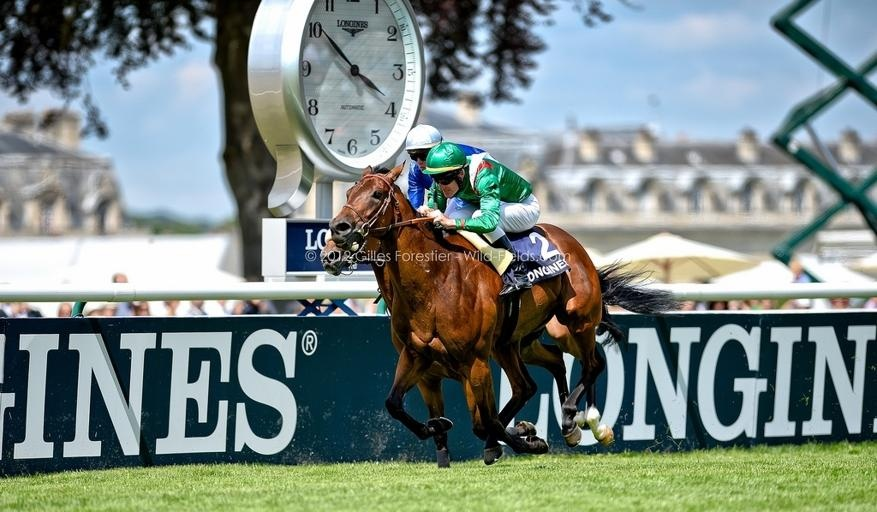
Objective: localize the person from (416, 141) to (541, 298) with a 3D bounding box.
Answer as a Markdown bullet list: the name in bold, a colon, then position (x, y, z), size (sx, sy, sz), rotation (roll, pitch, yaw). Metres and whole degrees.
- **person**: position (0.382, -0.473, 20.428), size (1.584, 1.520, 0.986), rotation (-13, 13, -22)

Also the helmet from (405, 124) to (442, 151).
- **helmet**: position (-0.178, -1.268, 20.248), size (0.358, 0.167, 0.254), rotation (-2, 12, 18)
